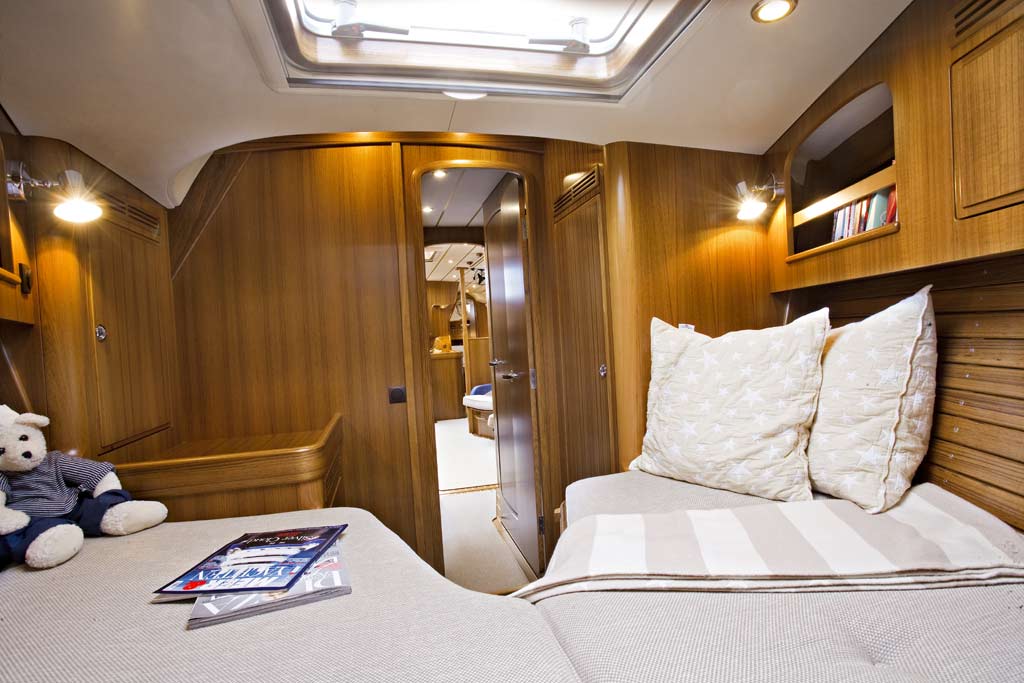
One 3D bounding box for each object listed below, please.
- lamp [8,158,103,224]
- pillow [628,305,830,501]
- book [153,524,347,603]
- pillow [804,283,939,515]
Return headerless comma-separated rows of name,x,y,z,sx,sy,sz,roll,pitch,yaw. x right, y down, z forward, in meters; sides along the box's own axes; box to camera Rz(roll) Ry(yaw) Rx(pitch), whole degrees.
lamp,-1.675,-0.538,2.305,0.103,0.177,0.332,-3,-1,21
pillow,0.851,0.257,2.483,0.410,0.639,0.766,-6,5,-37
book,-0.771,0.682,1.899,0.434,0.031,0.481,-2,-2,-9
pillow,1.346,0.278,2.473,0.437,0.719,0.832,-6,-10,2
